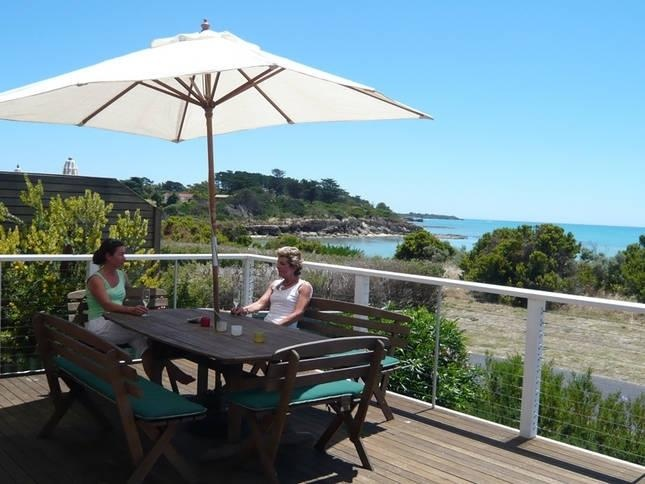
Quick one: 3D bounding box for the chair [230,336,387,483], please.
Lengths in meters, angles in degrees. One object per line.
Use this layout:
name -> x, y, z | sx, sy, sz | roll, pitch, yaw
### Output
chair -> -0.091, 0.936, 3.593 | 1.077, 1.099, 0.868 | 1, 1, -32

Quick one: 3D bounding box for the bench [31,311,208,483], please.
bench -> -1.323, 0.968, 3.313 | 1.324, 0.951, 0.490 | 1, 1, 41

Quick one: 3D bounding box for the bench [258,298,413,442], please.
bench -> 0.065, 0.936, 3.753 | 0.410, 0.654, 1.011 | 2, -2, -35

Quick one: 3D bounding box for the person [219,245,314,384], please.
person -> -0.410, 0.641, 4.480 | 0.685, 1.171, 0.591 | 5, -1, -42
